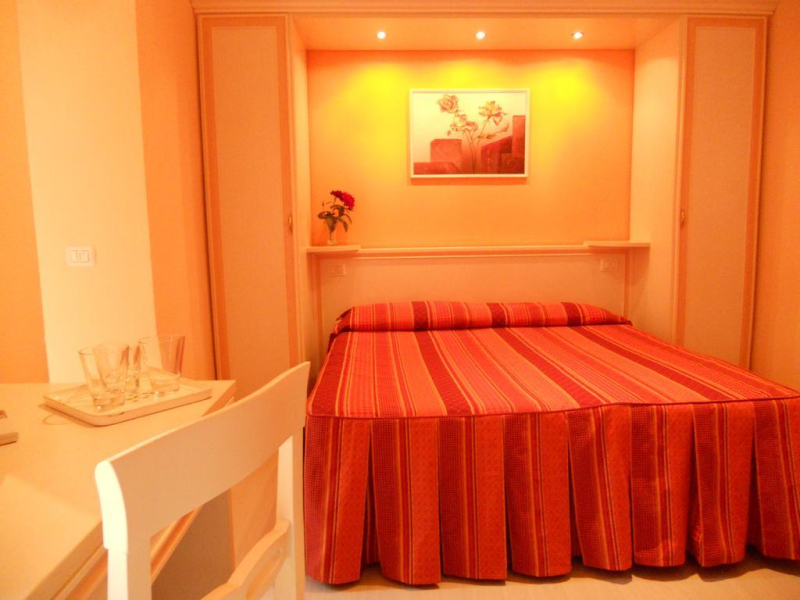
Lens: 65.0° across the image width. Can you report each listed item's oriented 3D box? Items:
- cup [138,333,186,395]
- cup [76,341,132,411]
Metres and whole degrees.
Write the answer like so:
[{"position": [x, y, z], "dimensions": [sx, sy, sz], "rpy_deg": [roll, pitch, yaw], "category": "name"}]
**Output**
[{"position": [-0.849, 0.220, 2.223], "dimensions": [0.181, 0.218, 0.152], "rpy_deg": [4, 15, -1], "category": "cup"}, {"position": [-0.994, 0.257, 2.086], "dimensions": [0.150, 0.213, 0.174], "rpy_deg": [-6, -2, 29], "category": "cup"}]
